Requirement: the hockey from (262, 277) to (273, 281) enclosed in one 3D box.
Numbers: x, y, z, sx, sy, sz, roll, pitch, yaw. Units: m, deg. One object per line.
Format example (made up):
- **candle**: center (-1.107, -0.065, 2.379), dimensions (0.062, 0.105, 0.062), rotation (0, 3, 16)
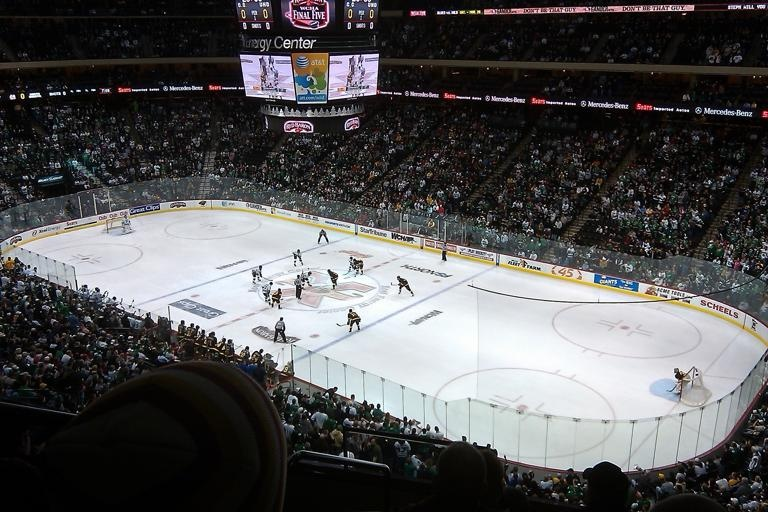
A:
- **hockey**: center (-6.102, 1.186, 33.825), dimensions (0.457, 0.094, 0.637), rotation (-1, 9, -20)
